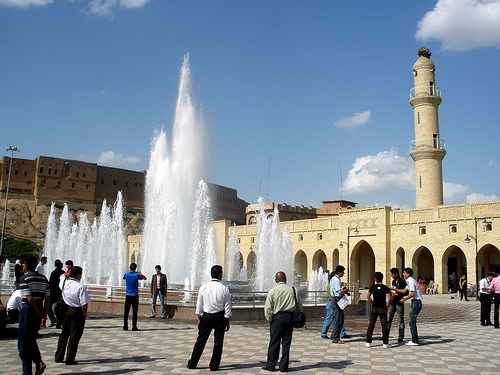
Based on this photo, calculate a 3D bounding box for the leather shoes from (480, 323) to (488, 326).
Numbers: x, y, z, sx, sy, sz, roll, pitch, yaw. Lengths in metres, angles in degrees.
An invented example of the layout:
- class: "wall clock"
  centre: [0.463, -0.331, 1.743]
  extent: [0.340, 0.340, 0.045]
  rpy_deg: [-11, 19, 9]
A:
- class: "leather shoes"
  centre: [6.905, 4.042, 14.309]
  extent: [0.144, 0.102, 0.050]
  rpy_deg: [-1, -9, 11]

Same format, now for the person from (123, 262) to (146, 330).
- class: "person"
  centre: [-2.979, 2.786, 12.427]
  extent: [0.495, 1.685, 0.820]
  rpy_deg: [2, -9, -13]

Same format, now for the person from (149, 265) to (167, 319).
- class: "person"
  centre: [-2.769, 3.151, 14.769]
  extent: [0.511, 1.539, 0.871]
  rpy_deg: [2, -9, -11]

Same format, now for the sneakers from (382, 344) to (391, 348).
- class: "sneakers"
  centre: [3.059, 3.537, 10.850]
  extent: [0.177, 0.079, 0.065]
  rpy_deg: [5, -5, -31]

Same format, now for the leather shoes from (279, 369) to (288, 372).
- class: "leather shoes"
  centre: [0.649, 3.418, 9.055]
  extent: [0.148, 0.041, 0.069]
  rpy_deg: [6, -11, -34]

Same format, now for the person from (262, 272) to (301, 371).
- class: "person"
  centre: [0.608, 2.556, 9.365]
  extent: [0.704, 1.831, 0.474]
  rpy_deg: [1, -9, -5]

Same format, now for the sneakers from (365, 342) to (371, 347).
- class: "sneakers"
  centre: [2.668, 3.527, 10.955]
  extent: [0.093, 0.107, 0.121]
  rpy_deg: [-6, -6, 27]

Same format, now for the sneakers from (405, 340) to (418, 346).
- class: "sneakers"
  centre: [3.727, 3.562, 11.144]
  extent: [0.279, 0.098, 0.287]
  rpy_deg: [-3, -9, 19]

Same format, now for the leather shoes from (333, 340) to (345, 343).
- class: "leather shoes"
  centre: [2.069, 3.566, 11.281]
  extent: [0.282, 0.124, 0.098]
  rpy_deg: [-2, -5, 8]

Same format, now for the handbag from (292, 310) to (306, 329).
- class: "handbag"
  centre: [0.940, 2.498, 9.274]
  extent: [0.228, 0.298, 0.217]
  rpy_deg: [-2, -9, 14]

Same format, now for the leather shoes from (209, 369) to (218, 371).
- class: "leather shoes"
  centre: [-0.662, 3.385, 9.018]
  extent: [0.136, 0.026, 0.046]
  rpy_deg: [1, -9, -7]

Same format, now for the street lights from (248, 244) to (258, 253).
- class: "street lights"
  centre: [0.254, 5.377, 42.887]
  extent: [0.795, 0.831, 0.456]
  rpy_deg: [-3, -15, 1]

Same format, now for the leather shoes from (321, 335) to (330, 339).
- class: "leather shoes"
  centre: [1.836, 3.633, 11.824]
  extent: [0.186, 0.076, 0.064]
  rpy_deg: [-10, -10, 37]

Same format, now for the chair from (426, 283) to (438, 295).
- class: "chair"
  centre: [11.180, 6.150, 29.645]
  extent: [0.526, 0.972, 0.722]
  rpy_deg: [-8, -25, 34]

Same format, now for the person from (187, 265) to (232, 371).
- class: "person"
  centre: [-0.759, 2.465, 9.283]
  extent: [0.789, 1.925, 0.553]
  rpy_deg: [1, -9, -5]

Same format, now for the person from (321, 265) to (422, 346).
- class: "person"
  centre: [3.253, 2.733, 11.226]
  extent: [1.368, 1.730, 0.756]
  rpy_deg: [5, -10, -30]
